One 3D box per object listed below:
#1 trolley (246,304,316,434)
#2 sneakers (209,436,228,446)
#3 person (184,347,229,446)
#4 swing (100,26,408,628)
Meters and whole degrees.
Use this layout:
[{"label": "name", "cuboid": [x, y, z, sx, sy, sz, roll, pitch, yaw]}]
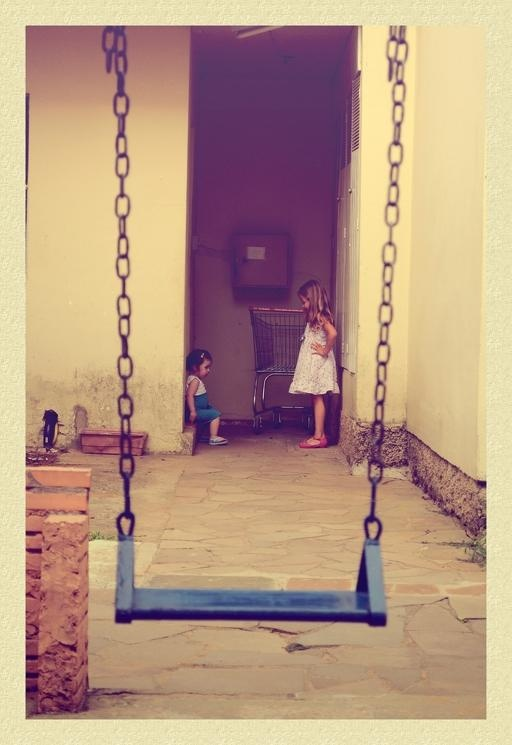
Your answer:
[{"label": "trolley", "cuboid": [0.254, -0.080, 7.834, 0.734, 1.319, 0.821, 0, 2, -1]}, {"label": "sneakers", "cuboid": [-0.356, 0.652, 6.584, 0.186, 0.083, 0.068, -2, 0, 6]}, {"label": "person", "cuboid": [-0.469, 0.235, 6.396, 0.336, 0.915, 0.383, 3, 4, 1]}, {"label": "swing", "cuboid": [-0.020, -0.185, 2.076, 0.935, 1.799, 0.340, 0, -4, -3]}]
